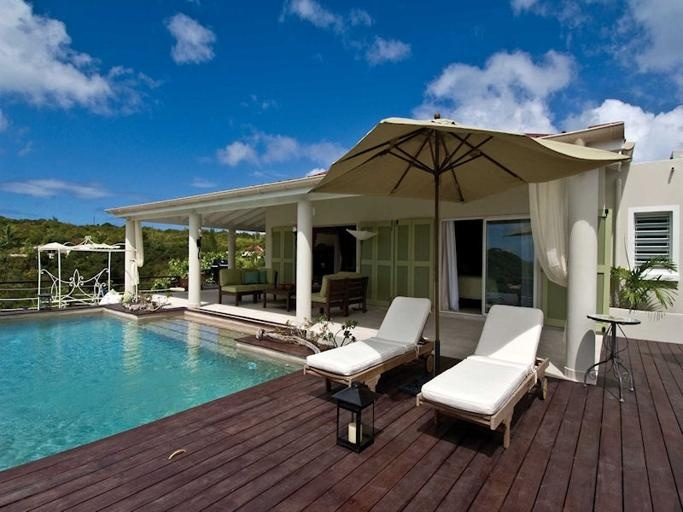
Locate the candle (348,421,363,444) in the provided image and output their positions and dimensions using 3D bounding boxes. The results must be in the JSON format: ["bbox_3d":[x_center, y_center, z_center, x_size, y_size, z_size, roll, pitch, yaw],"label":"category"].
[{"bbox_3d":[0.112,1.940,4.741,0.201,0.226,0.205,0,1,-16],"label":"candle"}]

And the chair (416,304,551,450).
[{"bbox_3d":[1.907,1.399,5.502,1.034,1.273,2.092,2,8,44],"label":"chair"}]

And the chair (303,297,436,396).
[{"bbox_3d":[0.502,1.286,6.289,0.986,1.226,2.270,0,2,42],"label":"chair"}]

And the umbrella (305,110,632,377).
[{"bbox_3d":[1.641,-0.580,6.182,3.663,3.421,3.377,4,-1,-27],"label":"umbrella"}]

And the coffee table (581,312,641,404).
[{"bbox_3d":[3.758,1.383,5.967,0.674,0.978,0.763,1,3,-6],"label":"coffee table"}]

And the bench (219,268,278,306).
[{"bbox_3d":[-2.723,0.880,12.428,1.074,0.969,1.622,0,0,29],"label":"bench"}]
